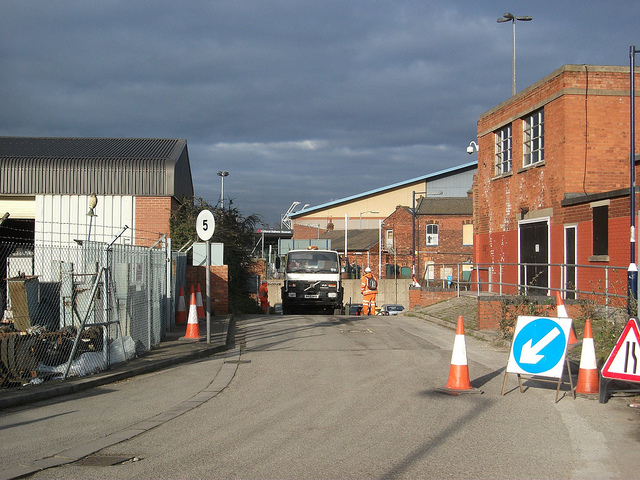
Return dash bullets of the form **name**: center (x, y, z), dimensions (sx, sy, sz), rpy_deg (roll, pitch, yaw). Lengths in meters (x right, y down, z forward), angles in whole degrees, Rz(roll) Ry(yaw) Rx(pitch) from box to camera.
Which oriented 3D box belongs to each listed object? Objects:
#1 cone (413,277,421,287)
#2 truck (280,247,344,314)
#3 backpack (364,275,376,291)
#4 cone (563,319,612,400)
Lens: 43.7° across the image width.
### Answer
- **cone**: center (5.715, 2.508, 47.001), dimensions (0.221, 0.255, 1.138), rpy_deg (8, 17, -14)
- **truck**: center (-0.227, 1.532, 29.913), dimensions (1.429, 1.750, 2.801), rpy_deg (0, -9, -1)
- **backpack**: center (1.943, 1.725, 30.703), dimensions (0.395, 0.487, 0.309), rpy_deg (1, 1, 11)
- **cone**: center (5.151, 2.164, 15.323), dimensions (0.949, 1.491, 1.025), rpy_deg (-2, 9, 7)
